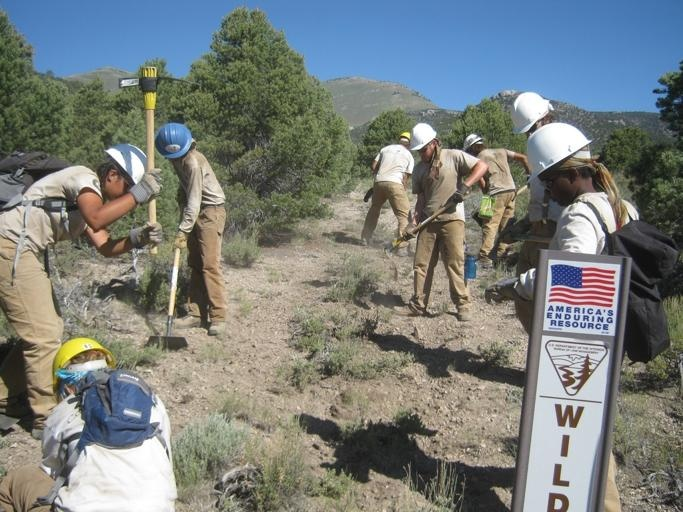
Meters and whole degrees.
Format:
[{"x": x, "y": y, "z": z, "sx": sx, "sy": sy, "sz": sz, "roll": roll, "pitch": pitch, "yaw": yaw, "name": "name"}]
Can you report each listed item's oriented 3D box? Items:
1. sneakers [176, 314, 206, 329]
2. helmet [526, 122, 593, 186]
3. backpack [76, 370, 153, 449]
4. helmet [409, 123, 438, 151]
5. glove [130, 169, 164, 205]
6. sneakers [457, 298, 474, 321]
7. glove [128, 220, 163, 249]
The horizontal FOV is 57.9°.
[{"x": -2.025, "y": 0.883, "z": 8.283, "sx": 0.396, "sy": 0.199, "sz": 0.170, "roll": 10, "pitch": 2, "yaw": -26, "name": "sneakers"}, {"x": 1.830, "y": -0.908, "z": 5.284, "sx": 0.479, "sy": 0.308, "sz": 0.398, "roll": -28, "pitch": 13, "yaw": 4, "name": "helmet"}, {"x": -1.633, "y": 1.070, "z": 4.447, "sx": 0.404, "sy": 0.625, "sz": 0.540, "roll": 10, "pitch": 11, "yaw": -45, "name": "backpack"}, {"x": 1.061, "y": -1.599, "z": 8.186, "sx": 0.290, "sy": 0.224, "sz": 0.384, "roll": 2, "pitch": 44, "yaw": 44, "name": "helmet"}, {"x": -1.873, "y": -0.677, "z": 6.045, "sx": 0.372, "sy": 0.248, "sz": 0.115, "roll": -41, "pitch": -4, "yaw": -1, "name": "glove"}, {"x": 1.763, "y": 0.790, "z": 8.761, "sx": 0.158, "sy": 0.220, "sz": 0.299, "roll": 0, "pitch": -2, "yaw": 2, "name": "sneakers"}, {"x": -2.055, "y": -0.233, "z": 6.445, "sx": 0.237, "sy": 0.195, "sz": 0.333, "roll": 2, "pitch": 5, "yaw": -30, "name": "glove"}]
